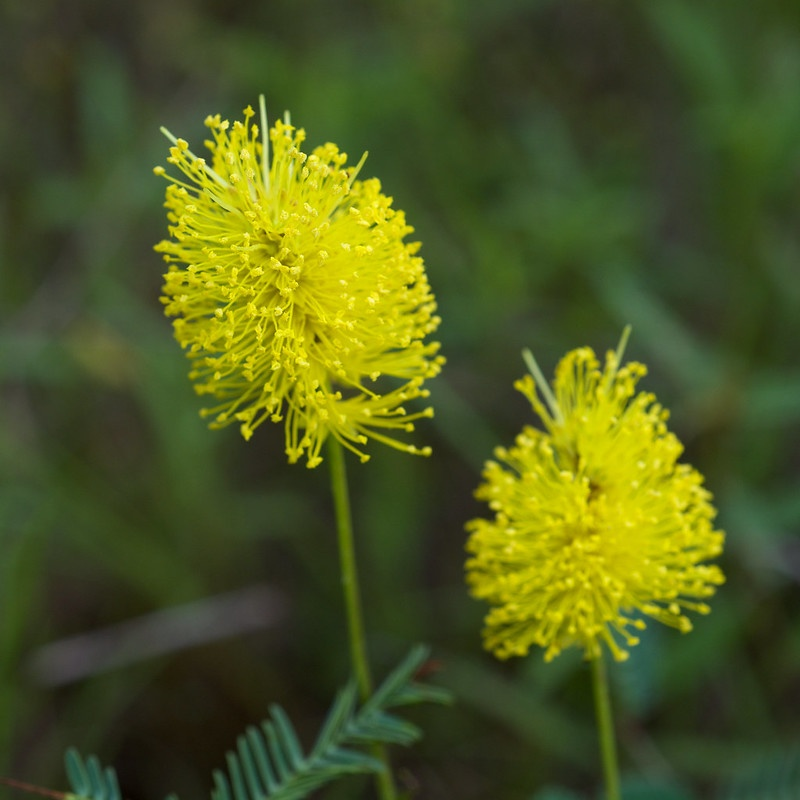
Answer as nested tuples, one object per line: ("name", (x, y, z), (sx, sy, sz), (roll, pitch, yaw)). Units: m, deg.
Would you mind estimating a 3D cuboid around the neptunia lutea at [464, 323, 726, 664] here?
("neptunia lutea", (0.145, 0.092, 0.671), (0.174, 0.225, 0.191), (-5, 80, 22))
